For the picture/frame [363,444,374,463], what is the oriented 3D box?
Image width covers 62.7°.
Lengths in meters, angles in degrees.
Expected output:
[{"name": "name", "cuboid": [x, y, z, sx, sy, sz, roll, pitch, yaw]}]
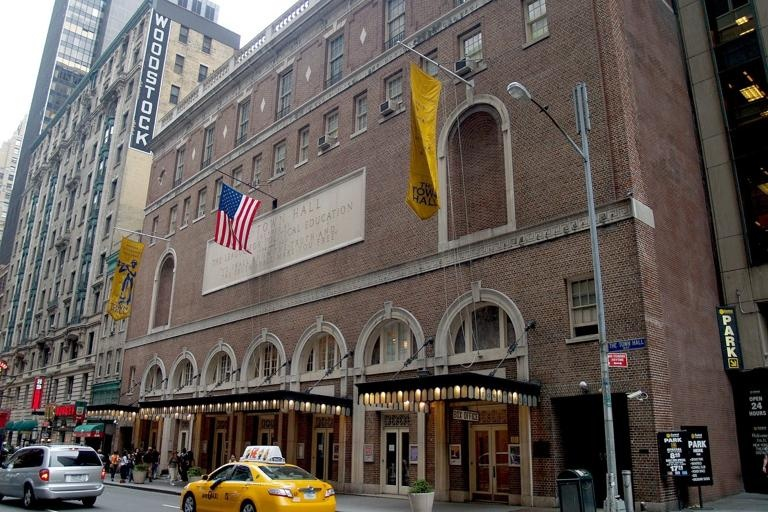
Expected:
[{"name": "picture/frame", "cuboid": [-0.833, 10.960, 35.142, 0.827, 1.209, 0.123, -11, -15, 41]}]

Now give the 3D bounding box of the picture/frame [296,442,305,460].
[{"name": "picture/frame", "cuboid": [-5.142, 11.996, 38.910, 0.775, 1.135, 0.106, -20, -28, 37]}]

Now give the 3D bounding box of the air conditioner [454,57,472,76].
[{"name": "air conditioner", "cuboid": [4.485, -10.633, 35.514, 1.063, 0.861, 0.547, -19, -28, 36]}]

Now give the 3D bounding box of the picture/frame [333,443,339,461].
[{"name": "picture/frame", "cuboid": [-2.790, 11.444, 37.006, 0.099, 1.004, 0.858, 9, -34, -21]}]

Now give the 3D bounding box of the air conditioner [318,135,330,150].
[{"name": "air conditioner", "cuboid": [-3.939, -7.500, 41.758, 0.818, 0.817, 0.480, -19, -27, 39]}]

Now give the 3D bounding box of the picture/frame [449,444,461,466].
[{"name": "picture/frame", "cuboid": [3.662, 10.193, 32.412, 0.127, 1.226, 0.846, 18, -23, -40]}]

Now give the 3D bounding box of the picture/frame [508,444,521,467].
[{"name": "picture/frame", "cuboid": [6.330, 9.606, 30.537, 0.119, 1.307, 0.908, 20, -28, -28]}]

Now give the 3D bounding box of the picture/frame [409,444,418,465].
[{"name": "picture/frame", "cuboid": [1.579, 10.447, 33.448, 0.103, 1.313, 0.926, 11, -19, -29]}]

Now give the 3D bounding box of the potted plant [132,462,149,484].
[{"name": "potted plant", "cuboid": [-16.210, 14.443, 42.139, 0.971, 1.217, 1.102, 4, -15, -21]}]

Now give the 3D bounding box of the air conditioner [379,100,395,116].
[{"name": "air conditioner", "cuboid": [0.164, -9.001, 38.550, 1.049, 0.623, 0.562, -19, -28, 35]}]
